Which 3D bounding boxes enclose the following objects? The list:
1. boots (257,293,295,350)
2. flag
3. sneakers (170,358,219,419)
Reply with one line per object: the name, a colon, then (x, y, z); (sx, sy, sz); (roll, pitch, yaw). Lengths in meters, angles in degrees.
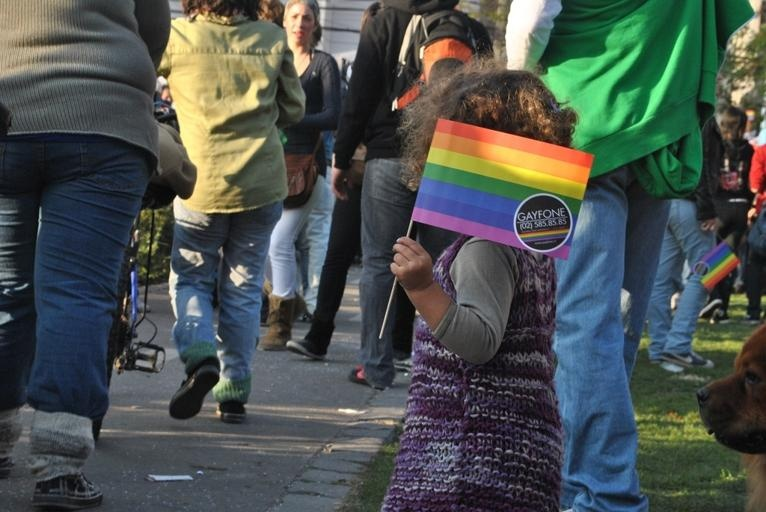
boots: (-0.856, 0.556, 9.424); (0.360, 0.455, 0.260); (0, -4, 15)
flag: (0.497, -0.280, 4.784); (0.692, 0.564, 0.060); (6, 0, 0)
sneakers: (-1.099, 0.794, 6.755); (0.189, 0.466, 0.182); (22, 30, -28)
